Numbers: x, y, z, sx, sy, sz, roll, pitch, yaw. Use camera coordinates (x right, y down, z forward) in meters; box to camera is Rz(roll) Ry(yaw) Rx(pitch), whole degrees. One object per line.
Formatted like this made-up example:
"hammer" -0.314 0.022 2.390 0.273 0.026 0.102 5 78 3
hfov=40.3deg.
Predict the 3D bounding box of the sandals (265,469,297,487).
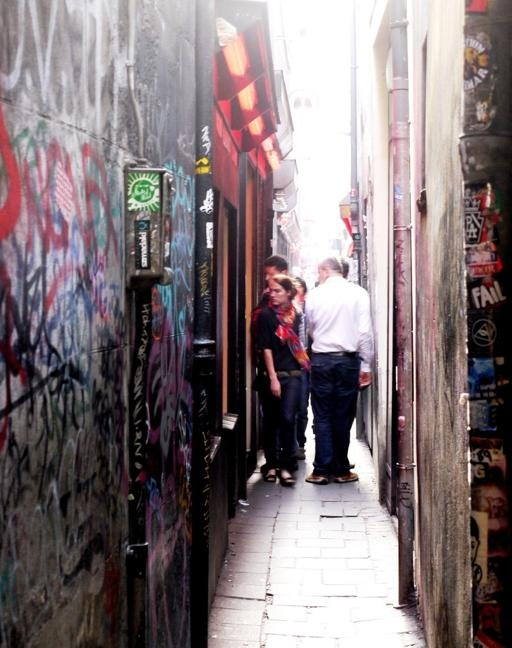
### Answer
"sandals" 0.234 1.515 6.838 0.333 0.177 0.117 5 -28 24
